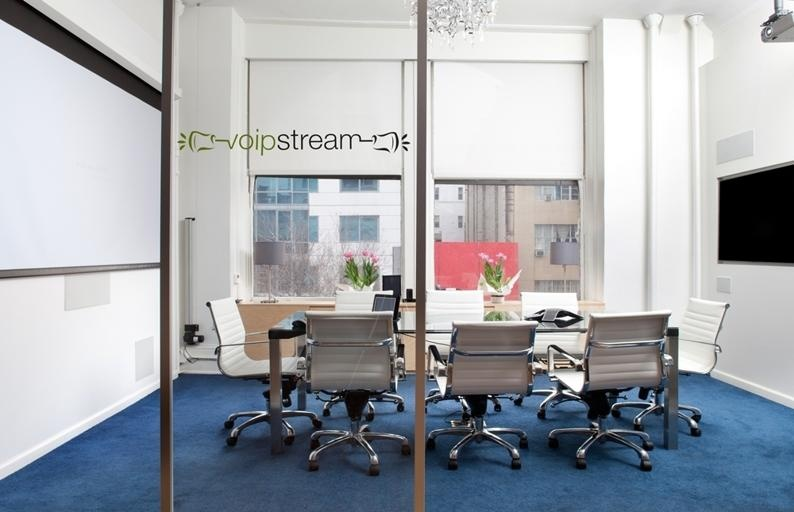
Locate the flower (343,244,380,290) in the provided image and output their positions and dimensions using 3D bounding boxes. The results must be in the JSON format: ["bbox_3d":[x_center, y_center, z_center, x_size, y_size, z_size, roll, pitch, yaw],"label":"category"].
[{"bbox_3d":[-0.433,0.148,6.797,0.445,0.467,0.448,0,1,37],"label":"flower"}]

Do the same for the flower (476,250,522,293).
[{"bbox_3d":[1.297,0.224,7.397,0.473,0.522,0.539,2,-1,19],"label":"flower"}]

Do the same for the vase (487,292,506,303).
[{"bbox_3d":[1.245,0.539,7.247,0.144,0.092,0.113,0,0,-3],"label":"vase"}]
